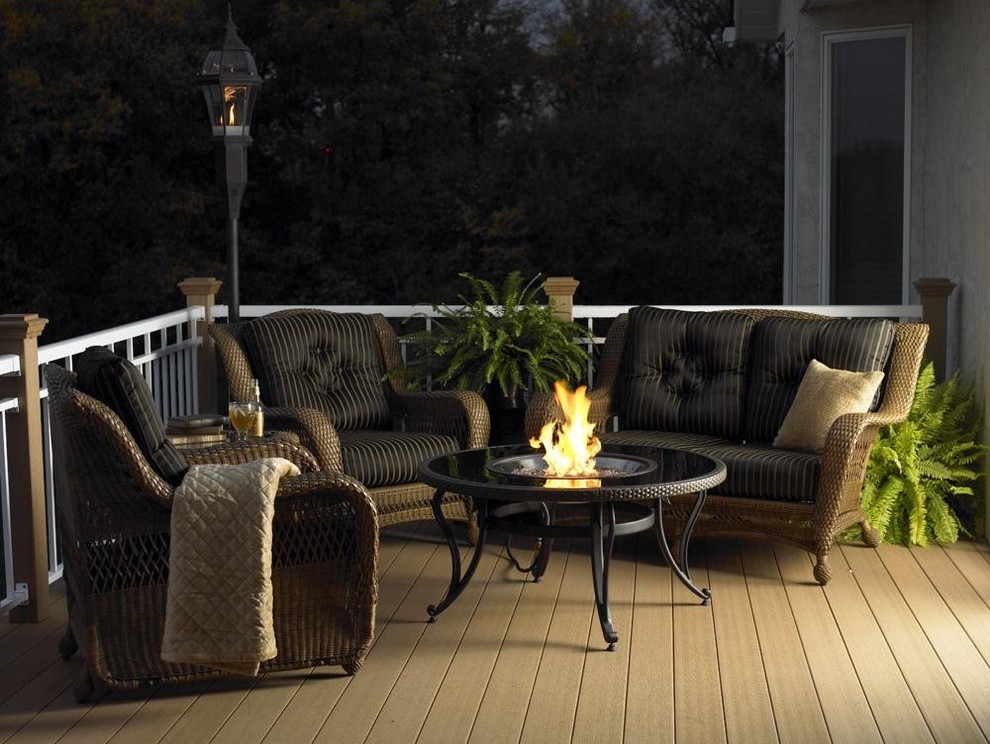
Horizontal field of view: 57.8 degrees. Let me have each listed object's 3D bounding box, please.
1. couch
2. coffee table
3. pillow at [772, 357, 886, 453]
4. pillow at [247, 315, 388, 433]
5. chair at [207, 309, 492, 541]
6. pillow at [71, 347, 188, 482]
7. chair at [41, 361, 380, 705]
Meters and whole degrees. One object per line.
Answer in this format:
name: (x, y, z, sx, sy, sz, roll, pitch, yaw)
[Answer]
couch: (1.263, 0.309, 5.034, 1.981, 1.252, 1.249, 3, 5, 40)
coffee table: (0.395, 0.711, 4.105, 1.249, 0.695, 1.417, 3, 8, 27)
pillow: (1.710, 0.186, 4.635, 0.199, 0.465, 0.452, 36, -15, -33)
pillow: (-1.274, -0.057, 5.524, 1.059, 0.263, 1.109, -11, -8, -31)
chair: (-0.823, 0.274, 5.070, 1.132, 1.223, 1.290, -4, 6, -39)
pillow: (-1.263, 0.168, 3.085, 0.396, 0.430, 0.180, 2, 9, 21)
chair: (-1.098, 0.548, 3.476, 1.124, 0.967, 0.950, 2, 4, -26)
